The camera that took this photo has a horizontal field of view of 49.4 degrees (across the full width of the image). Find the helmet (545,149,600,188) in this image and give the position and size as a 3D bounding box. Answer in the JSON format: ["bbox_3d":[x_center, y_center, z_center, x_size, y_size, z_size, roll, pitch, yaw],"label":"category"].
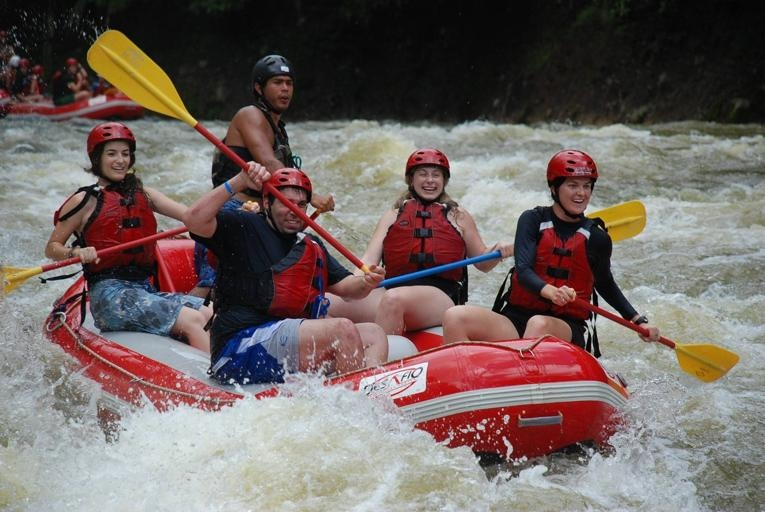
[{"bbox_3d":[1.628,-0.658,6.997,0.373,0.468,0.472,3,8,23],"label":"helmet"}]

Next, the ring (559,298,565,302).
[{"bbox_3d":[1.437,0.348,6.654,0.029,0.032,0.009,-25,0,14],"label":"ring"}]

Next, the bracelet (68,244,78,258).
[{"bbox_3d":[-2.641,-0.042,7.092,0.097,0.030,0.099,-40,31,18],"label":"bracelet"}]

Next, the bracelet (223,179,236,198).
[{"bbox_3d":[-1.188,-0.537,6.484,0.040,0.115,0.100,-26,-9,2],"label":"bracelet"}]

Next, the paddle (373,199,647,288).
[{"bbox_3d":[1.175,-0.084,7.493,2.793,0.414,0.140,-20,7,-23],"label":"paddle"}]

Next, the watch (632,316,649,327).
[{"bbox_3d":[2.177,0.542,7.024,0.102,0.072,0.101,-22,-17,16],"label":"watch"}]

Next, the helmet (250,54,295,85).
[{"bbox_3d":[-1.000,-1.699,7.568,0.317,0.275,0.247,-18,6,19],"label":"helmet"}]
